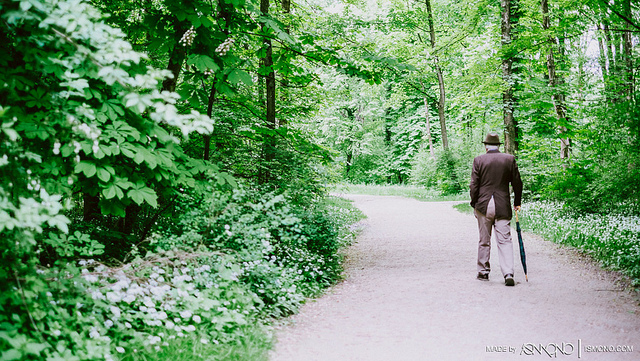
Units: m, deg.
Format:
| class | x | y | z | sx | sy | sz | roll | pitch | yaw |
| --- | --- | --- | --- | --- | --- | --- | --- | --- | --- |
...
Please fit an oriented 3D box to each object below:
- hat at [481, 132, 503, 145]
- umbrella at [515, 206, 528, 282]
| class | x | y | z | sx | sy | sz | roll | pitch | yaw |
| --- | --- | --- | --- | --- | --- | --- | --- | --- | --- |
| hat | 3.808 | -0.923 | 11.792 | 0.336 | 0.264 | 0.214 | 0 | 13 | 12 |
| umbrella | 4.964 | 1.621 | 13.139 | 0.125 | 1.655 | 0.119 | -2 | -15 | -35 |
